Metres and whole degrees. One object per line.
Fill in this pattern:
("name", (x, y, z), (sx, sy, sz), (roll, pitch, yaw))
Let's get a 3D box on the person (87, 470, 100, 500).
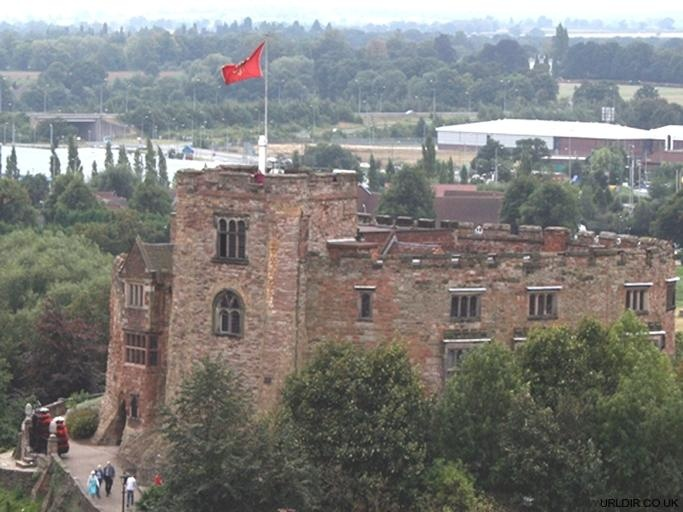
("person", (-18.325, 17.227, 130.310), (0.847, 1.838, 1.164), (-1, 2, -10))
